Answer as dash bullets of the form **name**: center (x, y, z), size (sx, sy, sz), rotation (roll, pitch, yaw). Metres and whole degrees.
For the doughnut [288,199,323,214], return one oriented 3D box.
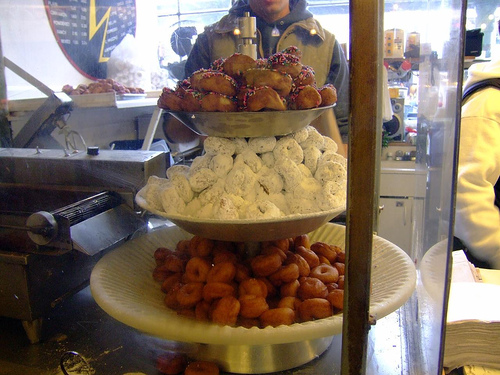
- **doughnut**: center (0.109, 0.039, 0.773), size (0.065, 0.026, 0.038), rotation (0, 14, 8)

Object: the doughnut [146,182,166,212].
- **doughnut**: center (-0.202, 0.016, 0.820), size (0.013, 0.042, 0.054), rotation (26, 21, -50)

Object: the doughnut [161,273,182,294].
- **doughnut**: center (-0.174, 0.209, 0.864), size (0.037, 0.018, 0.038), rotation (-35, 13, 23)

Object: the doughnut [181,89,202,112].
- **doughnut**: center (-0.115, -0.173, 0.775), size (0.060, 0.043, 0.023), rotation (8, 17, 34)

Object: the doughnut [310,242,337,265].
- **doughnut**: center (0.176, 0.156, 0.929), size (0.049, 0.018, 0.049), rotation (44, 14, 32)

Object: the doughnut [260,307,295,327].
- **doughnut**: center (0.055, 0.247, 0.750), size (0.041, 0.016, 0.037), rotation (-9, -10, 30)

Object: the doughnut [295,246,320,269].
- **doughnut**: center (0.131, 0.155, 0.891), size (0.037, 0.020, 0.049), rotation (-7, 33, -39)

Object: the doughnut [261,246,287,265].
- **doughnut**: center (0.055, 0.146, 0.861), size (0.043, 0.025, 0.036), rotation (14, 2, 36)

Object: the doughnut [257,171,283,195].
- **doughnut**: center (0.046, -0.009, 0.795), size (0.048, 0.037, 0.035), rotation (51, 9, 10)

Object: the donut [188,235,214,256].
- **donut**: center (-0.111, 0.132, 0.889), size (0.045, 0.018, 0.047), rotation (-27, 48, -22)

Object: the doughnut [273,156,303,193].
- **doughnut**: center (0.080, -0.022, 0.813), size (0.022, 0.066, 0.065), rotation (-30, 58, -29)

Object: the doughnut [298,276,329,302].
- **doughnut**: center (0.132, 0.204, 0.806), size (0.044, 0.022, 0.045), rotation (0, 7, 8)

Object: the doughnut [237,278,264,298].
- **doughnut**: center (-0.007, 0.201, 0.799), size (0.038, 0.021, 0.038), rotation (20, 40, -6)

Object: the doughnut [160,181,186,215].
- **doughnut**: center (-0.162, 0.019, 0.800), size (0.043, 0.056, 0.081), rotation (-13, 18, -36)

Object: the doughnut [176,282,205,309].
- **doughnut**: center (-0.119, 0.217, 0.794), size (0.047, 0.017, 0.048), rotation (4, 20, 34)

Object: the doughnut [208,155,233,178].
- **doughnut**: center (-0.058, -0.043, 0.800), size (0.044, 0.043, 0.024), rotation (5, 1, 6)

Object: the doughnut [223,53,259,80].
- **doughnut**: center (-0.020, -0.245, 0.781), size (0.049, 0.035, 0.056), rotation (1, 21, -4)

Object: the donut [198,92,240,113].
- **donut**: center (-0.058, -0.159, 0.745), size (0.049, 0.019, 0.050), rotation (8, 9, 16)

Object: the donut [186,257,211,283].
- **donut**: center (-0.107, 0.176, 0.836), size (0.044, 0.045, 0.041), rotation (-2, -3, 18)

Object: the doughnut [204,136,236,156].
- **doughnut**: center (-0.061, -0.086, 0.816), size (0.065, 0.043, 0.028), rotation (-3, 14, -5)

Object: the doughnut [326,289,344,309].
- **doughnut**: center (0.173, 0.218, 0.770), size (0.047, 0.024, 0.048), rotation (0, 20, 11)

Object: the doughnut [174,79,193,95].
- **doughnut**: center (-0.138, -0.207, 0.819), size (0.036, 0.012, 0.036), rotation (-11, 63, -9)

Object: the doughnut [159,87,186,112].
- **doughnut**: center (-0.157, -0.178, 0.795), size (0.043, 0.019, 0.053), rotation (31, 13, -24)

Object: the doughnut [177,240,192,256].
- **doughnut**: center (-0.153, 0.143, 0.953), size (0.035, 0.022, 0.036), rotation (23, 19, 26)

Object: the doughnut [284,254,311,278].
- **doughnut**: center (0.103, 0.166, 0.870), size (0.040, 0.029, 0.051), rotation (-9, 38, -40)

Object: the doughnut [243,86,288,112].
- **doughnut**: center (0.028, -0.167, 0.737), size (0.076, 0.025, 0.068), rotation (-15, -24, -4)

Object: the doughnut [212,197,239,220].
- **doughnut**: center (-0.045, 0.040, 0.735), size (0.047, 0.035, 0.067), rotation (-4, 14, -8)

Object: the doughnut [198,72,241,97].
- **doughnut**: center (-0.062, -0.193, 0.761), size (0.053, 0.021, 0.056), rotation (12, 13, 14)

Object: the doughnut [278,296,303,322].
- **doughnut**: center (0.083, 0.241, 0.782), size (0.039, 0.037, 0.039), rotation (-1, -2, 15)

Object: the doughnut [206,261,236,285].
- **doughnut**: center (-0.060, 0.182, 0.827), size (0.063, 0.040, 0.039), rotation (-14, 19, -41)

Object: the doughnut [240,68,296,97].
- **doughnut**: center (0.037, -0.207, 0.754), size (0.066, 0.025, 0.067), rotation (14, 19, 13)

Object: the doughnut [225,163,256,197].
- **doughnut**: center (-0.018, -0.014, 0.778), size (0.048, 0.063, 0.020), rotation (26, -1, 2)

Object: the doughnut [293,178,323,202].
- **doughnut**: center (0.125, 0.003, 0.790), size (0.045, 0.016, 0.047), rotation (32, 53, 33)

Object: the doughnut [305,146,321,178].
- **doughnut**: center (0.138, -0.055, 0.830), size (0.036, 0.059, 0.014), rotation (2, -4, -8)

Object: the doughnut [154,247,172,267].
- **doughnut**: center (-0.203, 0.164, 0.933), size (0.038, 0.019, 0.039), rotation (16, 62, 13)

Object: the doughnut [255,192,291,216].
- **doughnut**: center (0.048, 0.038, 0.789), size (0.050, 0.014, 0.045), rotation (27, 49, -8)

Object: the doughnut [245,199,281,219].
- **doughnut**: center (0.030, 0.041, 0.739), size (0.042, 0.013, 0.040), rotation (21, 35, 31)
